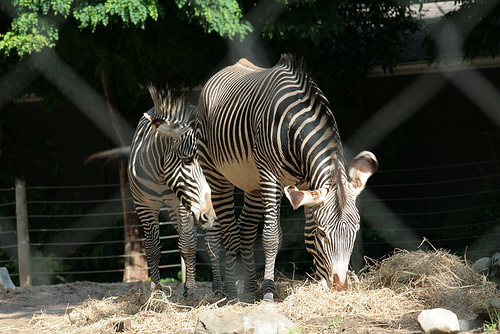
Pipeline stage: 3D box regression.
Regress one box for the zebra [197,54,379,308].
[{"bbox_3d":[0.361,0.188,10.708,2.639,3.578,0.898,-1,2,43],"label":"zebra"}]
